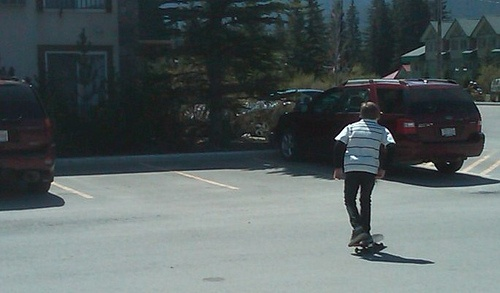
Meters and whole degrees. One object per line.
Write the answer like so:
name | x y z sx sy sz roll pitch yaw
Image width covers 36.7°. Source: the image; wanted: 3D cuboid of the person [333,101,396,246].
person | 2.304 0.588 15.857 1.108 2.873 1.297 2 15 9

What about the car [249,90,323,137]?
car | 1.032 -1.284 29.479 3.505 1.552 1.863 0 1 2

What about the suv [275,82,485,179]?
suv | 3.639 -0.761 22.640 2.761 1.768 5.511 -5 9 -40
